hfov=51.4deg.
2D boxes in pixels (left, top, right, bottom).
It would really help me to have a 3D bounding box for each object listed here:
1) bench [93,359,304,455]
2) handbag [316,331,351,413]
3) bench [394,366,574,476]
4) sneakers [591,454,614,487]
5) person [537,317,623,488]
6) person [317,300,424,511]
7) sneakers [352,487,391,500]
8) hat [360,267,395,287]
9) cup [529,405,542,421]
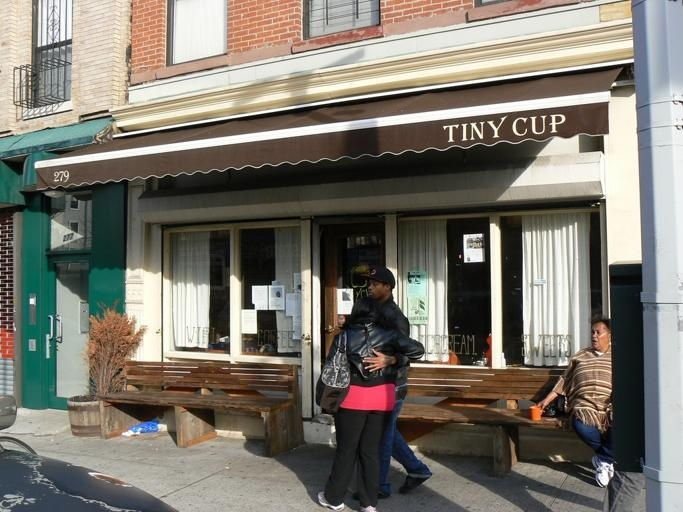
[{"bbox_3d":[-1.882,1.903,9.248,2.654,1.046,0.893,-2,-1,24],"label":"bench"},{"bbox_3d":[-0.036,1.130,6.806,0.302,0.758,0.413,1,7,31],"label":"handbag"},{"bbox_3d":[1.501,1.803,8.131,1.816,0.880,0.763,-3,7,33],"label":"bench"},{"bbox_3d":[2.705,2.236,7.376,0.124,0.305,0.311,-4,6,-15],"label":"sneakers"},{"bbox_3d":[2.547,1.511,7.477,0.659,1.721,0.536,1,7,33],"label":"person"},{"bbox_3d":[0.225,1.479,6.904,0.932,2.037,0.425,-3,6,-9],"label":"person"},{"bbox_3d":[0.318,2.407,7.255,0.434,0.200,0.149,5,-9,-18],"label":"sneakers"},{"bbox_3d":[0.372,0.201,7.033,0.267,0.147,0.195,23,-1,-2],"label":"hat"},{"bbox_3d":[2.076,1.688,7.600,0.130,0.126,0.109,0,-1,15],"label":"cup"}]
